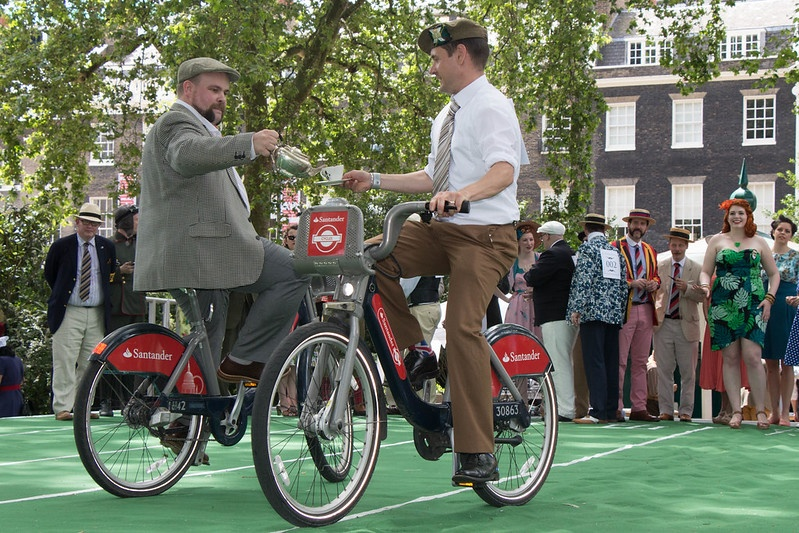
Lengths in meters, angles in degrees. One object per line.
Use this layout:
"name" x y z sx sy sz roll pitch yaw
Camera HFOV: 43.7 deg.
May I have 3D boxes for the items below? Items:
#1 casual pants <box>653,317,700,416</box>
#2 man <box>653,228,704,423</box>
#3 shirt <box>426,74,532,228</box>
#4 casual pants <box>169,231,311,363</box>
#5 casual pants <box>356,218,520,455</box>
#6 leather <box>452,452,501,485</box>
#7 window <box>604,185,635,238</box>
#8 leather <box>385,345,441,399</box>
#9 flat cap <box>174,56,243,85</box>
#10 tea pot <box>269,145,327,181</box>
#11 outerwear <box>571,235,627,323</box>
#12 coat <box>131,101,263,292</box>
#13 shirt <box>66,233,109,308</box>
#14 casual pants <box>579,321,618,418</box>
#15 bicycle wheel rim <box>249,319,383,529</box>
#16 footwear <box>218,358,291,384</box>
"casual pants" 3.967 1.463 14.321 0.645 1.454 0.454 -4 -21 31
"man" 3.898 0.803 14.313 0.857 2.756 0.885 10 -10 -41
"shirt" 0.688 -0.951 8.759 0.764 1.177 1.340 6 -4 -2
"casual pants" -1.383 0.359 9.053 0.533 1.343 1.176 32 -21 -36
"casual pants" 0.332 0.267 8.593 1.212 2.126 0.987 8 16 25
"leather" 0.633 1.645 8.093 0.184 0.194 0.428 -13 -20 34
"window" 8.483 -2.566 38.583 1.231 0.164 2.692 2 -21 6
"leather" 0.068 0.849 8.424 0.624 0.274 0.229 -15 12 -38
"flat cap" -1.733 -1.775 8.896 0.394 0.130 0.291 -8 2 -10
"tea pot" -0.839 -0.872 8.121 0.391 0.292 0.301 0 -4 -9
"outerwear" 2.723 0.143 13.787 1.006 1.373 0.591 9 -10 -37
"coat" -1.705 -0.590 8.954 1.291 1.538 2.266 3 -1 -15
"shirt" -4.230 0.115 13.456 0.506 0.786 0.200 -1 4 -4
"casual pants" 2.742 1.302 13.750 0.511 1.689 0.664 1 1 36
"bicycle wheel rim" -0.731 1.255 8.078 1.128 1.600 0.722 2 -5 -25
"footwear" -1.219 0.908 8.554 0.762 0.296 0.268 0 2 -13
